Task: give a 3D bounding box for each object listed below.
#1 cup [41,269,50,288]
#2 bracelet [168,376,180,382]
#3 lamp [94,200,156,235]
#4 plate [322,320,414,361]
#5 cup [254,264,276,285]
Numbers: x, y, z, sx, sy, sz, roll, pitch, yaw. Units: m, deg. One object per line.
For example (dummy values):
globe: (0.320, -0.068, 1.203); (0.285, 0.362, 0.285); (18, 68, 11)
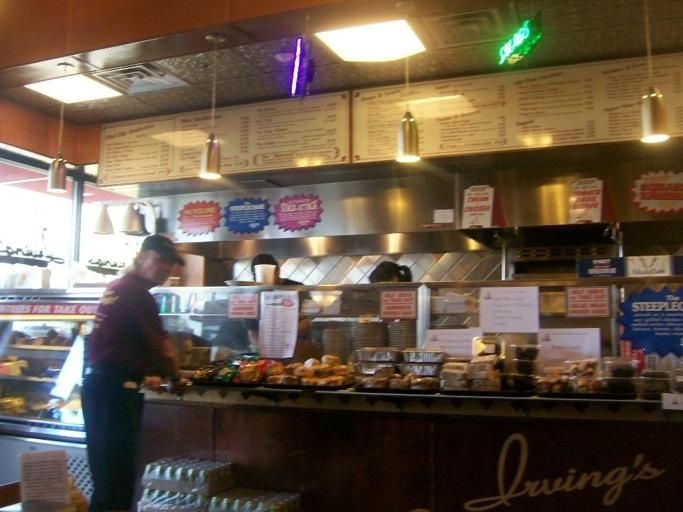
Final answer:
cup: (-2.643, 0.195, 5.738); (0.053, 0.165, 0.094); (-2, -7, 15)
bracelet: (-1.082, 0.787, 4.104); (0.089, 0.050, 0.016); (7, 11, -2)
lamp: (-2.278, -0.416, 6.750); (0.344, 0.389, 0.604); (-3, -6, 23)
plate: (0.173, 0.595, 4.556); (0.714, 0.312, 0.102); (-1, -7, 7)
cup: (-0.587, 0.144, 4.963); (0.216, 0.125, 0.177); (1, -3, 18)
